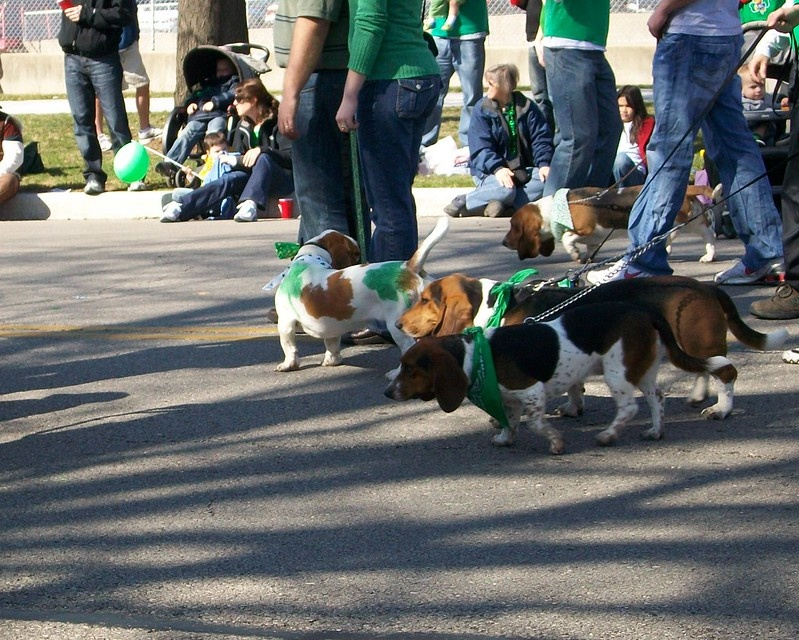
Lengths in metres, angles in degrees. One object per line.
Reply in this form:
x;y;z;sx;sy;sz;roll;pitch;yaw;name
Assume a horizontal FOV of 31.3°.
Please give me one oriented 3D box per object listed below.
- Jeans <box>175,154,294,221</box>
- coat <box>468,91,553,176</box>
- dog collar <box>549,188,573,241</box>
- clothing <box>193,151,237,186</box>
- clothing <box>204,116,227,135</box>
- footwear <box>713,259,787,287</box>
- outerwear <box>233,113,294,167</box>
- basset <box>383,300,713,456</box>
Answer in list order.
-1.540;-1.265;12.570;0.900;0.614;1.177;4;23;-15;Jeans
0.905;-1.501;11.683;0.799;0.640;0.596;-4;26;-10;coat
1.028;-0.684;9.109;0.106;0.257;0.235;-4;-3;-30;dog collar
-1.689;-1.404;13.142;0.640;0.206;0.142;-24;-31;38;clothing
-1.776;-1.876;13.668;0.197;0.106;0.265;8;45;11;clothing
2.088;-0.274;8.483;0.392;0.133;0.140;3;6;31;footwear
-1.274;-1.642;12.827;0.681;0.371;0.386;-8;28;-40;outerwear
0.706;0.269;6.223;1.602;0.474;0.360;-4;0;-5;basset
